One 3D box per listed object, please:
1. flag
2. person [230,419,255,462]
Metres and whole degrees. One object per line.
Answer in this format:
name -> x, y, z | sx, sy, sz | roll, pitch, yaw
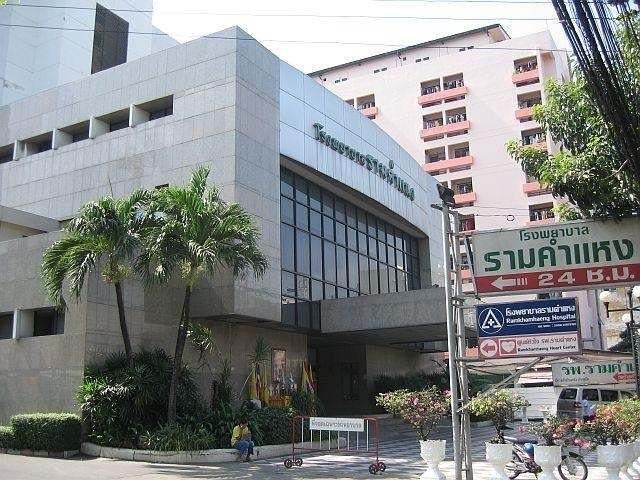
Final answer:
flag -> -1.763, 6.374, 27.262 | 2.035, 2.050, 5.006 | -9, -16, 18
person -> -2.460, 6.353, 19.185 | 0.665, 1.165, 0.590 | -6, -14, 6
